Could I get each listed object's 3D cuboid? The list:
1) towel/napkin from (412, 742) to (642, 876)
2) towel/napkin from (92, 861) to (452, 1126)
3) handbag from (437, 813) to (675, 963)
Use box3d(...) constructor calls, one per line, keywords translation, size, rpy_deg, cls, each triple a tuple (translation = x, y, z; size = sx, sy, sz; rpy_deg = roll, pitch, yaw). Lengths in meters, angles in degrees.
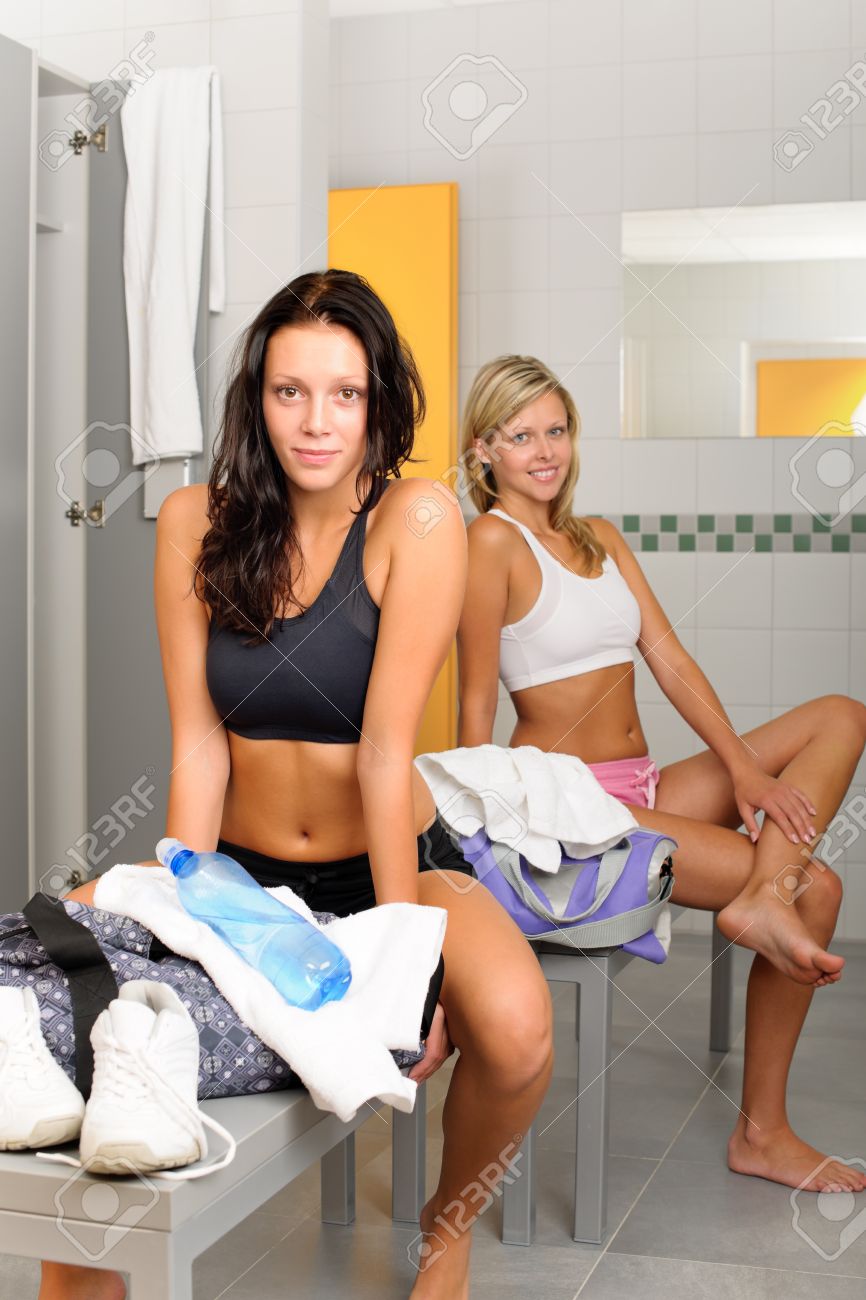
box3d(translation=(0.078, 0.134, 0.957), size=(0.147, 0.048, 0.122), rpy_deg=(5, 44, -24), cls="towel/napkin")
box3d(translation=(-0.069, 0.214, 0.645), size=(0.163, 0.060, 0.163), rpy_deg=(18, 2, 23), cls="towel/napkin")
box3d(translation=(0.123, 0.191, 0.984), size=(0.146, 0.063, 0.122), rpy_deg=(5, 2, 9), cls="handbag")
